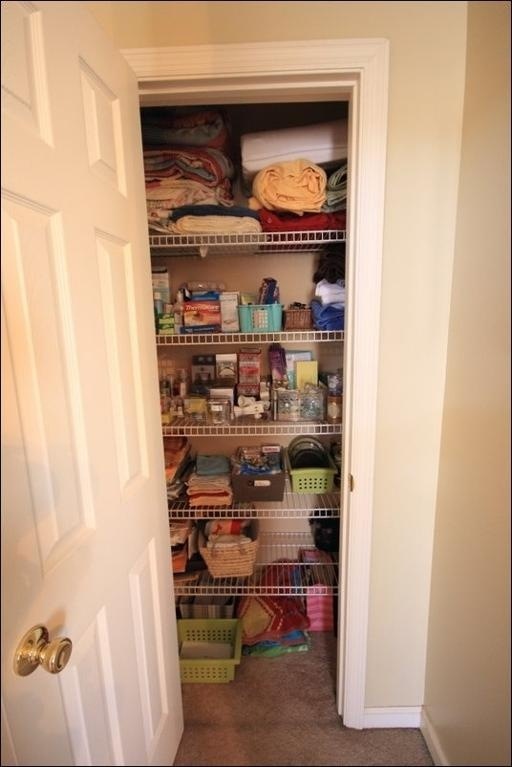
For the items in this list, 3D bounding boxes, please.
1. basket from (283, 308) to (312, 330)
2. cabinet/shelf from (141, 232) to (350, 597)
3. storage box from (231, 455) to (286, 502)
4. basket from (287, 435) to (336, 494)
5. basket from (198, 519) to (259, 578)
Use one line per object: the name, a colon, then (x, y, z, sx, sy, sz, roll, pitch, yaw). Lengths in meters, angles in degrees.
basket: (0.133, -0.210, 1.832, 0.067, 0.055, 0.073, 1, 12, 1)
cabinet/shelf: (-0.035, 0.135, 1.991, 0.703, 1.312, 0.445, -1, 11, 9)
storage box: (0.004, 0.366, 1.949, 0.174, 0.161, 0.132, -4, 11, -2)
basket: (0.184, 0.283, 1.991, 0.116, 0.097, 0.216, 0, 7, 0)
basket: (-0.092, 0.560, 1.914, 0.151, 0.123, 0.232, -1, -8, 1)
